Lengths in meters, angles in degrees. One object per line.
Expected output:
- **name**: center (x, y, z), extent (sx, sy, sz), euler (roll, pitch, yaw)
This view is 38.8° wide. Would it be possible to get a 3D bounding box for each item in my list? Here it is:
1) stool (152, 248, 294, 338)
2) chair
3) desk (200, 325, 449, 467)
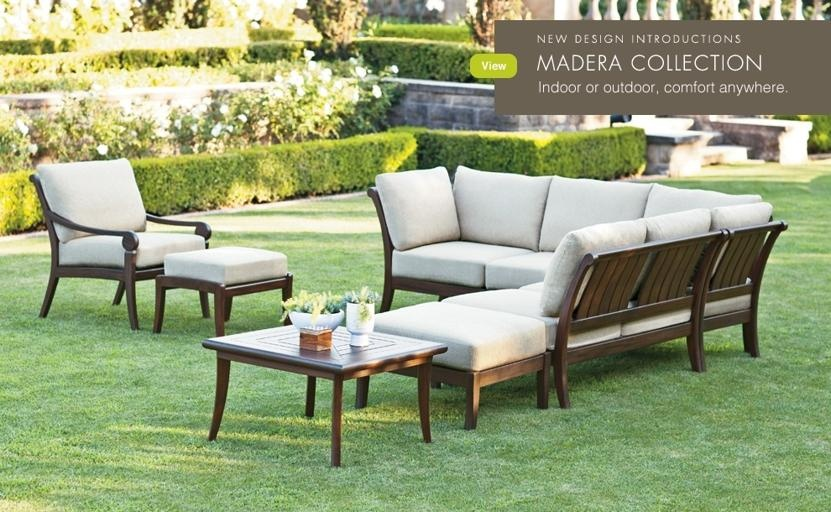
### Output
- **stool**: center (-1.901, 0.369, 11.917), extent (0.857, 0.827, 1.138), euler (6, 8, 29)
- **chair**: center (-2.906, -0.218, 12.368), extent (1.698, 1.829, 1.301), euler (4, 6, 30)
- **desk**: center (-0.807, 1.224, 10.032), extent (2.249, 1.093, 1.973), euler (6, 8, 38)
